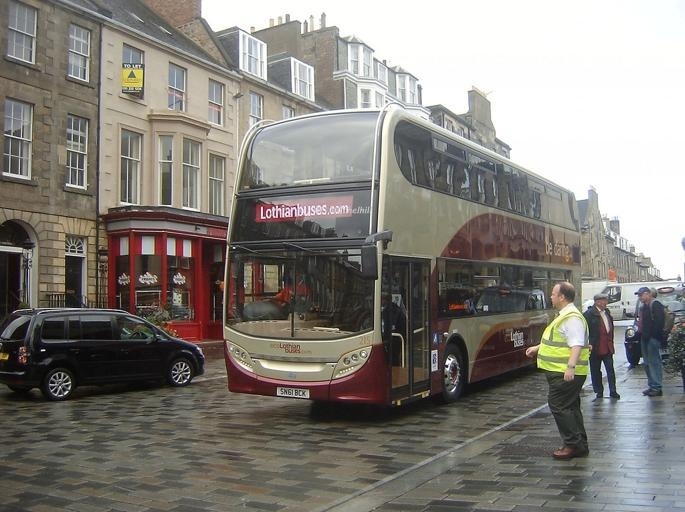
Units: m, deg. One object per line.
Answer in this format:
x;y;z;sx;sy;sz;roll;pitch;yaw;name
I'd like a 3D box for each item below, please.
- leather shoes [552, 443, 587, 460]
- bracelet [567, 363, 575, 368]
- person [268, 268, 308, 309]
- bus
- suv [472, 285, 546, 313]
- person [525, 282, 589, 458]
2.951;2.530;7.992;0.505;0.249;0.176;3;-3;-7;leather shoes
2.969;1.427;7.928;0.054;0.064;0.057;7;1;4;bracelet
-0.890;0.568;10.474;0.524;1.045;0.575;-2;-1;30;person
3.255;0.089;14.755;3.171;5.658;13.044;-3;-2;44;bus
3.930;1.080;14.699;0.810;0.892;3.111;-1;-5;38;suv
2.940;1.495;8.165;0.630;2.003;0.637;-2;-1;22;person
